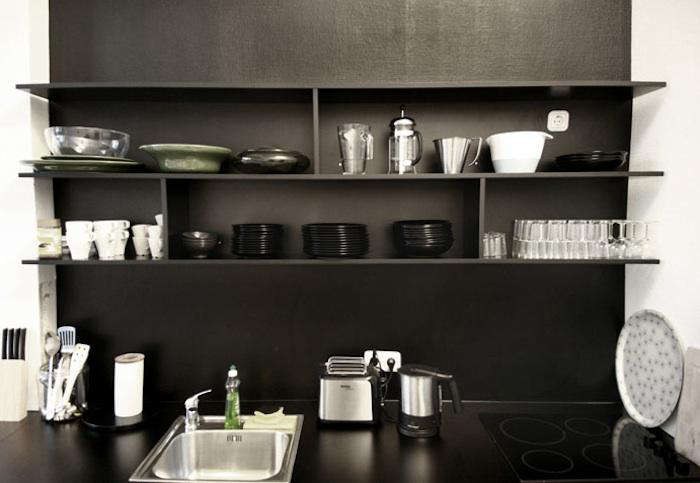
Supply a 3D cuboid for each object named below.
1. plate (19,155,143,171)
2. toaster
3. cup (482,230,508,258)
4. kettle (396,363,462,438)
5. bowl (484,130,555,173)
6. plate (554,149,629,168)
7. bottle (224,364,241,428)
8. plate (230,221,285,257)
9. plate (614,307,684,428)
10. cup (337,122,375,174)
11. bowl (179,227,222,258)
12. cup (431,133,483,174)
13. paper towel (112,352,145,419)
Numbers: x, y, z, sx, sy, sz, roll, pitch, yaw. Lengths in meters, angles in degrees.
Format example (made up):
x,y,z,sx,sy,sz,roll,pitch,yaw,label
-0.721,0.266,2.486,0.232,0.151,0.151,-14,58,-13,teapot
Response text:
x,y,z,sx,sy,sz,roll,pitch,yaw,label
-1.374,-0.398,3.353,0.571,0.080,0.186,0,3,-4,plate
-0.008,0.791,3.480,0.347,0.309,0.325,0,2,6,toaster
0.771,0.018,3.443,0.122,0.130,0.281,0,3,14,cup
0.369,0.805,3.264,0.403,0.372,0.241,1,-2,9,kettle
0.865,-0.446,3.318,0.275,0.156,0.230,-1,5,2,bowl
1.245,-0.416,3.346,0.334,0.098,0.078,0,3,15,plate
-0.610,0.795,3.359,0.085,0.308,0.160,-1,3,-11,bottle
-0.474,-0.005,3.400,0.195,0.114,0.191,0,-2,-1,plate
1.562,0.654,3.341,0.052,0.479,0.444,4,25,-16,plate
0.029,-0.479,3.346,0.174,0.269,0.117,-1,3,-6,cup
-0.797,0.020,3.414,0.189,0.137,0.115,-1,3,-4,bowl
0.561,-0.459,3.440,0.274,0.188,0.205,-1,4,6,cup
-1.165,0.759,3.410,0.150,0.314,0.109,-1,3,-20,paper towel
